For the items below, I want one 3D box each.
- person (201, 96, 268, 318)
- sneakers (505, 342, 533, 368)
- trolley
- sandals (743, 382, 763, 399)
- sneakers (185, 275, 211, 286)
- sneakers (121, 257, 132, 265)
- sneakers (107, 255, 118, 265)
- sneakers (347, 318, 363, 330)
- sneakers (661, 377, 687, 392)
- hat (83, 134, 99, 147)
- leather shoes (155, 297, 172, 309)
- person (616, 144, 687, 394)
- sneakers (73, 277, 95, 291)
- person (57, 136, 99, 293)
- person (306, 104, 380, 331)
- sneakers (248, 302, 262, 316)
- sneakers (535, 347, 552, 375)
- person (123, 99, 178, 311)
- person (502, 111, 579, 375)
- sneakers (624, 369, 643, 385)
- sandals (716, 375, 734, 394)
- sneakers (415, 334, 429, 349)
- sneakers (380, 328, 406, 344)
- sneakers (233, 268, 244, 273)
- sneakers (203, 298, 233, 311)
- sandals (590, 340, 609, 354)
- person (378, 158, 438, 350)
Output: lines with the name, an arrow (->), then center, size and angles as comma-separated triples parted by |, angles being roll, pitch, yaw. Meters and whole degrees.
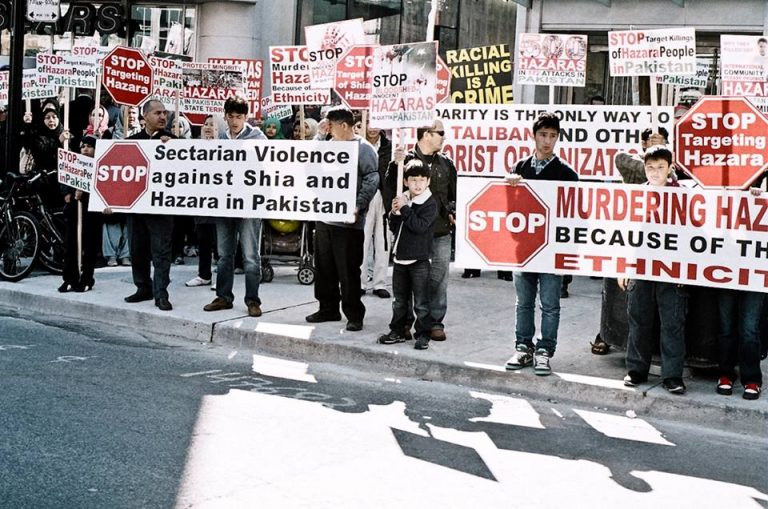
person -> -2.033, -0.694, 9.298 | 0.727, 2.874, 1.219 | 1, 9, -12
sneakers -> 1.440, 1.080, 7.318 | 0.164, 0.246, 0.417 | 10, 12, 40
trolley -> -1.635, -0.056, 11.473 | 1.007, 1.430, 1.098 | 2, 6, 13
sandals -> 3.554, 1.307, 6.615 | 0.141, 0.119, 0.269 | 8, 11, 32
sneakers -> -3.025, 0.419, 11.049 | 0.427, 0.172, 0.153 | 2, 1, -7
sneakers -> -4.917, 0.143, 12.997 | 0.174, 0.192, 0.503 | -3, -4, -20
sneakers -> -5.119, 0.104, 12.793 | 0.171, 0.174, 0.358 | -1, 10, -24
sneakers -> -0.369, 0.869, 8.567 | 0.249, 0.122, 0.204 | -1, 10, -19
sneakers -> 2.843, 1.276, 6.731 | 0.216, 0.123, 0.222 | 7, 10, 26
hat -> -4.461, -1.712, 10.312 | 0.239, 0.155, 0.269 | 1, -1, 3
leather shoes -> -2.988, 0.656, 9.239 | 0.178, 0.131, 0.345 | -3, 11, -32
person -> 2.821, 0.102, 6.941 | 0.608, 2.375, 0.877 | 6, 9, 19
sneakers -> -4.539, 0.439, 10.235 | 0.207, 0.152, 0.517 | 0, 0, -4
person -> -4.603, -0.244, 10.261 | 0.580, 1.523, 0.657 | 0, 9, -20
person -> -0.513, -0.484, 8.729 | 0.821, 2.757, 0.893 | -3, 10, -35
sneakers -> -1.740, 0.714, 9.060 | 0.146, 0.138, 0.330 | 0, -5, -9
sneakers -> 1.657, 1.111, 7.189 | 0.176, 0.228, 0.300 | 4, 9, 11
person -> -3.287, -0.738, 9.489 | 0.633, 2.799, 1.145 | 0, 9, -20
person -> 1.606, 0.034, 7.249 | 1.011, 2.948, 0.816 | 9, 29, 28
sneakers -> 2.482, 1.243, 6.863 | 0.247, 0.101, 0.097 | 9, -11, -38
sandals -> 3.349, 1.281, 6.738 | 0.092, 0.087, 0.212 | 1, 12, 15
sneakers -> 0.420, 0.999, 7.874 | 0.173, 0.128, 0.242 | 3, 9, 3
sneakers -> 0.083, 0.975, 8.071 | 0.343, 0.138, 0.122 | 3, 2, -26
sneakers -> -2.620, 0.270, 12.154 | 0.112, 0.128, 0.333 | -6, 2, -28
sneakers -> -2.258, 0.680, 9.373 | 0.449, 0.170, 0.146 | 2, 0, -29
sandals -> 2.502, 1.086, 7.978 | 0.119, 0.128, 0.189 | 3, -14, -8
person -> 0.269, -0.015, 7.940 | 0.599, 2.131, 0.542 | 3, 8, 3
